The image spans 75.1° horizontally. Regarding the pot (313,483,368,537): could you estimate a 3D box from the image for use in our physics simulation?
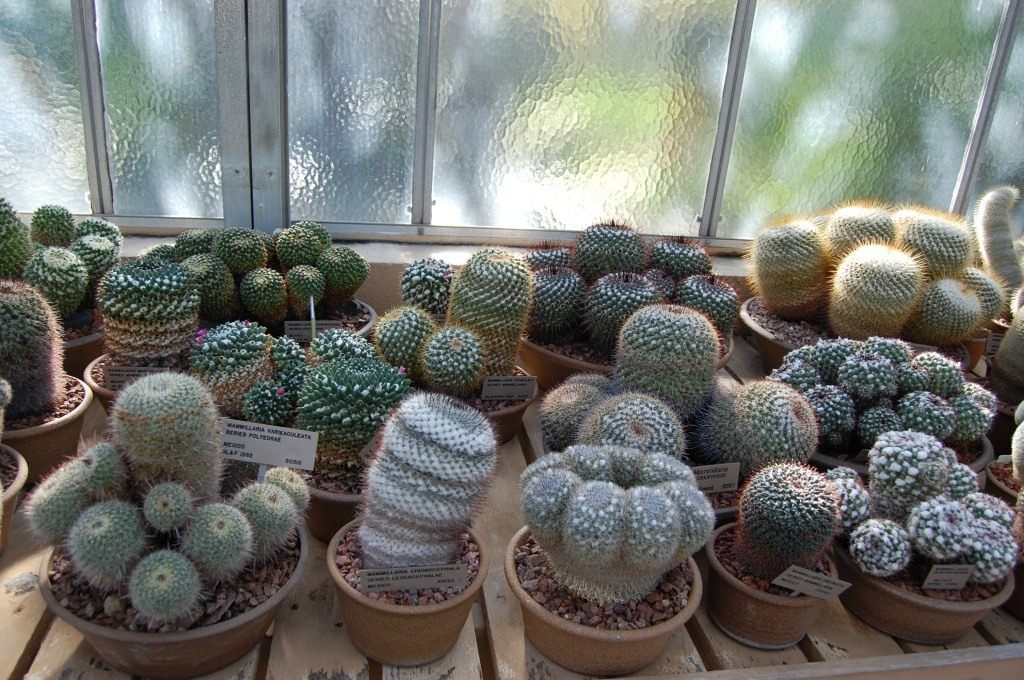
[{"bbox_3d":[-0.511,0.504,1.979,0.153,0.127,0.160,15,6,-2],"label":"pot"}]

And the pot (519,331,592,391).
[{"bbox_3d":[0.149,0.092,2.579,0.199,0.141,0.208,8,7,-1],"label":"pot"}]

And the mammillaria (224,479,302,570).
[{"bbox_3d":[-0.640,0.464,1.760,0.183,0.194,0.185,10,15,-33],"label":"mammillaria"}]

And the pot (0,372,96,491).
[{"bbox_3d":[-1.428,0.273,2.072,0.245,0.186,0.251,1,19,0],"label":"pot"}]

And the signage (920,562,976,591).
[{"bbox_3d":[1.211,0.658,1.850,0.092,0.086,0.007,-2,30,-3],"label":"signage"}]

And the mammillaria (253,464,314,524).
[{"bbox_3d":[-0.605,0.375,1.763,0.136,0.147,0.139,0,18,-29],"label":"mammillaria"}]

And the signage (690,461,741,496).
[{"bbox_3d":[0.635,0.430,2.062,0.164,0.113,0.092,-5,13,-10],"label":"signage"}]

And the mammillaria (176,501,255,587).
[{"bbox_3d":[-0.700,0.476,1.610,0.159,0.182,0.175,-10,38,-24],"label":"mammillaria"}]

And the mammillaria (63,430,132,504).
[{"bbox_3d":[-0.991,0.303,1.599,0.112,0.149,0.052,-10,1,11],"label":"mammillaria"}]

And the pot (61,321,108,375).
[{"bbox_3d":[-1.509,0.031,2.341,0.112,0.120,0.113,5,38,-4],"label":"pot"}]

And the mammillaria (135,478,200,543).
[{"bbox_3d":[-0.810,0.394,1.602,0.118,0.129,0.120,19,21,15],"label":"mammillaria"}]

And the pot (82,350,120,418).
[{"bbox_3d":[-1.335,0.141,2.230,0.195,0.154,0.198,4,16,-1],"label":"pot"}]

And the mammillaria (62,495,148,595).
[{"bbox_3d":[-0.935,0.464,1.595,0.188,0.199,0.174,-14,30,-40],"label":"mammillaria"}]

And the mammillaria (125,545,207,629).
[{"bbox_3d":[-0.797,0.581,1.570,0.169,0.187,0.175,-7,18,-34],"label":"mammillaria"}]

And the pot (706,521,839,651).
[{"bbox_3d":[0.678,0.697,1.769,0.293,0.185,0.300,2,21,-1],"label":"pot"}]
